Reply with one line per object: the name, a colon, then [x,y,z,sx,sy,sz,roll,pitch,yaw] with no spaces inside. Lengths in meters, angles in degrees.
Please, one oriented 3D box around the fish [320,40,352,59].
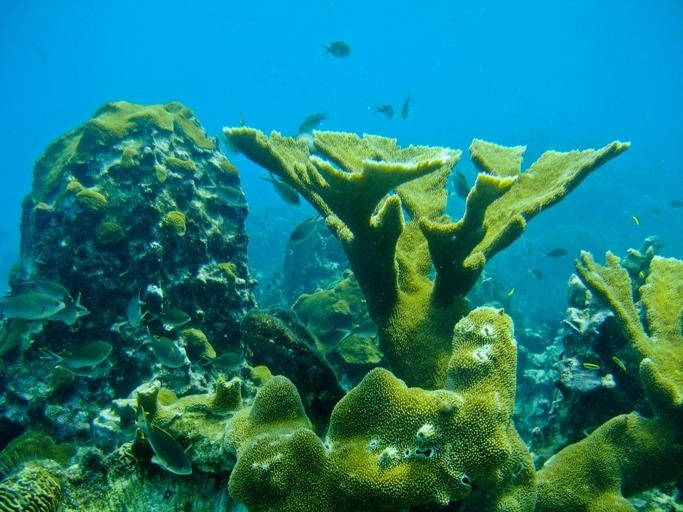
fish: [-0.086,-5.260,19.363,0.552,0.387,1.373,3,16,2]
